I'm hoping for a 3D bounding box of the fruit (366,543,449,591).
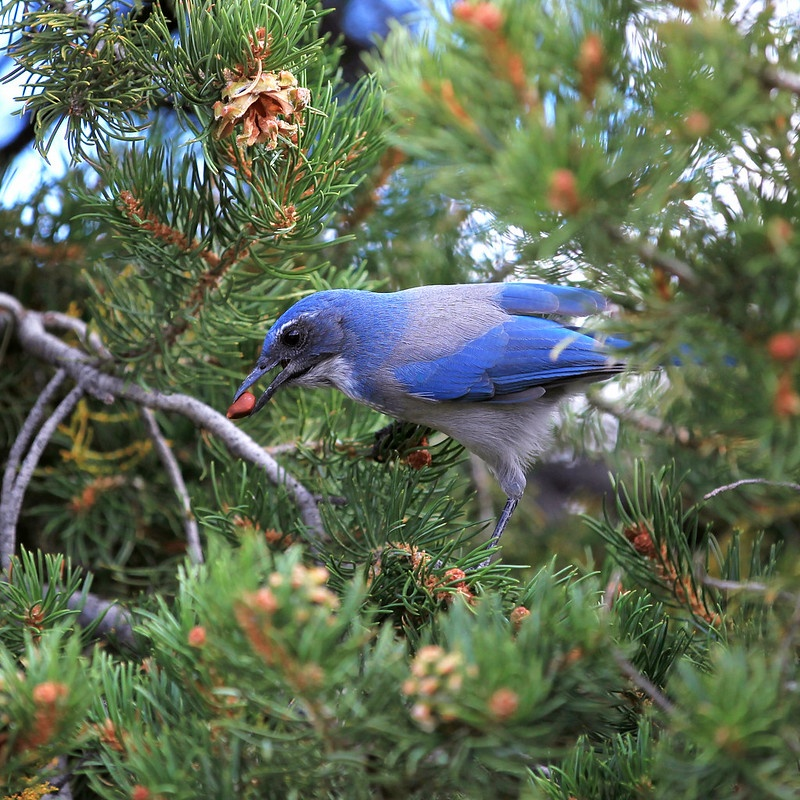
[{"bbox_3d":[0.027,0.390,2.350,0.148,0.095,0.051,25,58,-21],"label":"fruit"}]

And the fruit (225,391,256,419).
[{"bbox_3d":[-0.472,0.017,3.034,0.105,0.041,0.058,-36,106,-15],"label":"fruit"}]
